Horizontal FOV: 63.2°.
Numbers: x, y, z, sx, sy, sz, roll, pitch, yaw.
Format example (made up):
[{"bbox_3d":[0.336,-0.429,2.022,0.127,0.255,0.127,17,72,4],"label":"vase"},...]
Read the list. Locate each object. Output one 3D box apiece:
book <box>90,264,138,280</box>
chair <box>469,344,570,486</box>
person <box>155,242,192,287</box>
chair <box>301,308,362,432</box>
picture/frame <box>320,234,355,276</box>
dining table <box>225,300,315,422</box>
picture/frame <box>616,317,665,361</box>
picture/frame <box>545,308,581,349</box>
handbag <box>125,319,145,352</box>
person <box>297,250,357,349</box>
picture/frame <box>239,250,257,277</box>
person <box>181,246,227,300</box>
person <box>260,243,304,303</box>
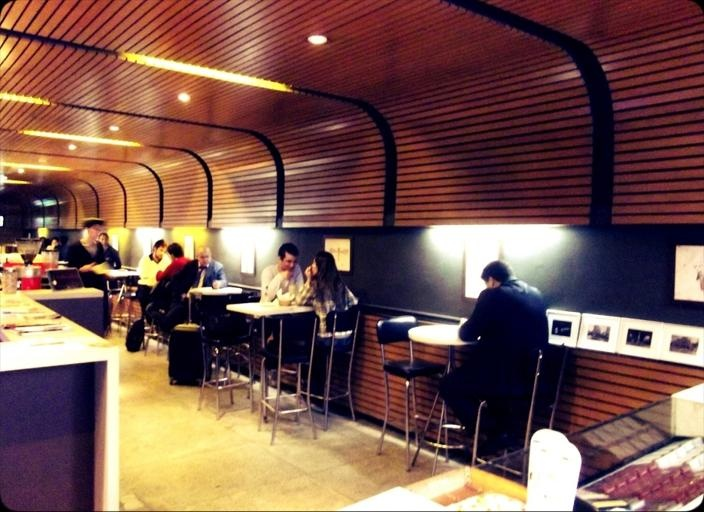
[{"bbox_3d":[-4.575,0.334,11.162,0.643,0.194,0.853,1,-6,-35],"label":"book"},{"bbox_3d":[1.626,1.710,6.049,0.915,1.383,0.904,-1,-4,44],"label":"chair"},{"bbox_3d":[-3.216,0.219,10.154,0.529,0.809,0.606,5,-13,19],"label":"person"},{"bbox_3d":[-0.161,1.505,7.704,0.631,1.425,0.657,1,-12,4],"label":"chair"},{"bbox_3d":[-0.177,0.007,8.086,0.627,0.600,0.060,1,3,42],"label":"picture/frame"},{"bbox_3d":[-1.128,1.396,7.582,0.884,1.551,1.632,-2,6,-33],"label":"dining table"},{"bbox_3d":[2.779,0.797,5.457,0.032,0.419,0.416,8,0,-43],"label":"picture/frame"},{"bbox_3d":[2.196,0.768,5.904,0.396,0.421,0.057,6,-3,44],"label":"picture/frame"},{"bbox_3d":[-4.116,1.539,10.926,0.219,0.596,0.450,13,-1,-11],"label":"handbag"},{"bbox_3d":[-0.328,0.478,7.459,0.598,1.034,0.620,6,7,38],"label":"person"},{"bbox_3d":[-1.892,0.143,10.482,0.066,0.477,0.489,3,-5,-35],"label":"picture/frame"},{"bbox_3d":[-2.702,0.481,10.339,0.869,1.230,0.701,2,2,-13],"label":"person"},{"bbox_3d":[-0.988,0.373,8.380,0.624,1.006,0.645,-11,23,-28],"label":"person"}]
